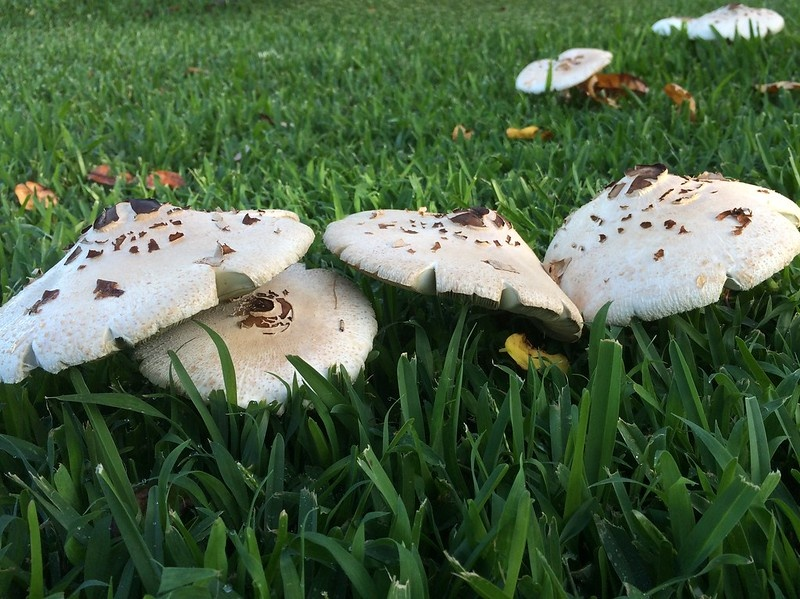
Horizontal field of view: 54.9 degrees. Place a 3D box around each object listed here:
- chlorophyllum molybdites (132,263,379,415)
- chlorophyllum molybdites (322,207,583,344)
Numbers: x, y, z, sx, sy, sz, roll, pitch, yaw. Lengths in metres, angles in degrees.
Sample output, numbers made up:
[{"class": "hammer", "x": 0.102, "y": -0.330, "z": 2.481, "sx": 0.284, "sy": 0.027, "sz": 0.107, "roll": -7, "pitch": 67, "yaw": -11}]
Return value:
[{"class": "chlorophyllum molybdites", "x": -0.480, "y": 0.135, "z": 3.216, "sx": 0.704, "sy": 0.556, "sz": 1.038, "roll": -11, "pitch": 8, "yaw": -38}, {"class": "chlorophyllum molybdites", "x": 0.226, "y": -0.153, "z": 3.309, "sx": 0.774, "sy": 0.650, "sz": 1.150, "roll": -5, "pitch": 11, "yaw": 8}]
